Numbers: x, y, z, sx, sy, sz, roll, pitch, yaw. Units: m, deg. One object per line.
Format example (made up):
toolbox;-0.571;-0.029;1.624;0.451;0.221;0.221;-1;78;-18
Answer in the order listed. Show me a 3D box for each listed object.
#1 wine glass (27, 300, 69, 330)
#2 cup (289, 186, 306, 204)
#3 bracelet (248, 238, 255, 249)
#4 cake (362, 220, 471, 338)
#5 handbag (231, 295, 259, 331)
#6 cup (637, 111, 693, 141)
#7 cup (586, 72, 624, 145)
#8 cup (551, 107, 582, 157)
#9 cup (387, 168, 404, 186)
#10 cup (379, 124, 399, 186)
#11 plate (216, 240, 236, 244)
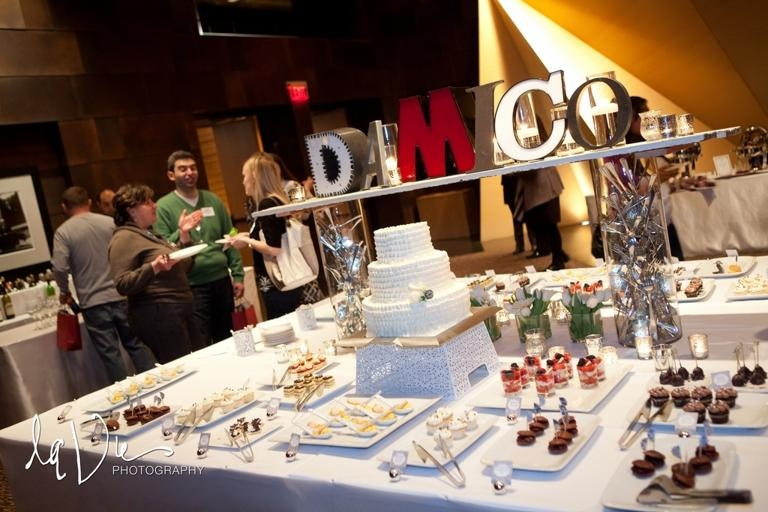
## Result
wine glass;-3.082;0.544;5.182;0.246;0.258;0.137;-4;0;-12
cup;-0.572;-0.405;3.723;0.100;0.106;0.103;0;-1;0
bracelet;-1.085;-0.112;4.625;0.065;0.099;0.023;-6;0;20
cake;0.124;0.089;3.021;0.549;0.544;0.574;-16;8;-7
handbag;-1.084;0.433;4.371;0.189;0.280;0.106;-17;44;-21
cup;1.409;-0.645;2.792;0.244;0.128;0.132;-6;7;-7
cup;1.137;-0.753;2.846;0.172;0.380;0.335;-5;9;23
cup;0.947;-0.655;2.909;0.132;0.252;0.223;-5;9;19
cup;0.065;-0.464;3.282;0.091;0.110;0.094;-7;-2;0
cup;0.047;-0.594;3.277;0.071;0.352;0.167;-4;9;24
plate;-1.197;-0.113;4.258;0.095;0.024;0.101;0;4;-2
